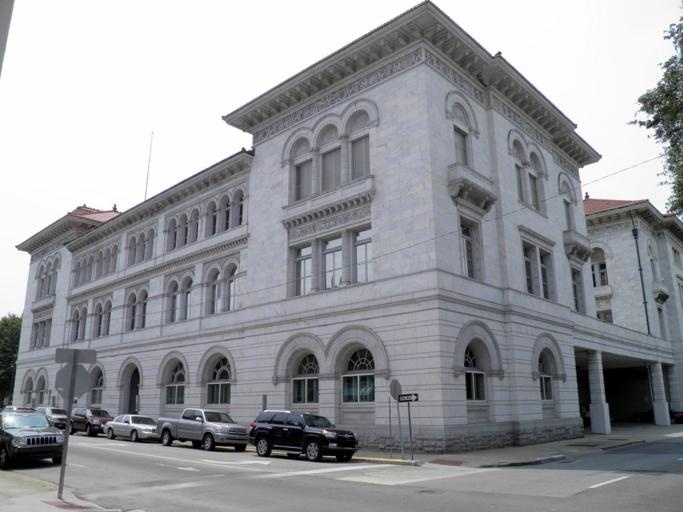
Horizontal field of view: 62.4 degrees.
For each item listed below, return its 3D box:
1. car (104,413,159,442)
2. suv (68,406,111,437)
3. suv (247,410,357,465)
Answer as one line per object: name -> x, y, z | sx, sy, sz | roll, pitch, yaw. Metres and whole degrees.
car -> -12.197, 10.124, 33.205 | 1.661, 1.182, 4.086 | 17, -24, -42
suv -> -16.678, 11.142, 38.117 | 4.392, 1.708, 2.116 | -21, -25, 40
suv -> -1.801, 7.944, 25.078 | 4.828, 2.190, 1.141 | -15, -27, 35
